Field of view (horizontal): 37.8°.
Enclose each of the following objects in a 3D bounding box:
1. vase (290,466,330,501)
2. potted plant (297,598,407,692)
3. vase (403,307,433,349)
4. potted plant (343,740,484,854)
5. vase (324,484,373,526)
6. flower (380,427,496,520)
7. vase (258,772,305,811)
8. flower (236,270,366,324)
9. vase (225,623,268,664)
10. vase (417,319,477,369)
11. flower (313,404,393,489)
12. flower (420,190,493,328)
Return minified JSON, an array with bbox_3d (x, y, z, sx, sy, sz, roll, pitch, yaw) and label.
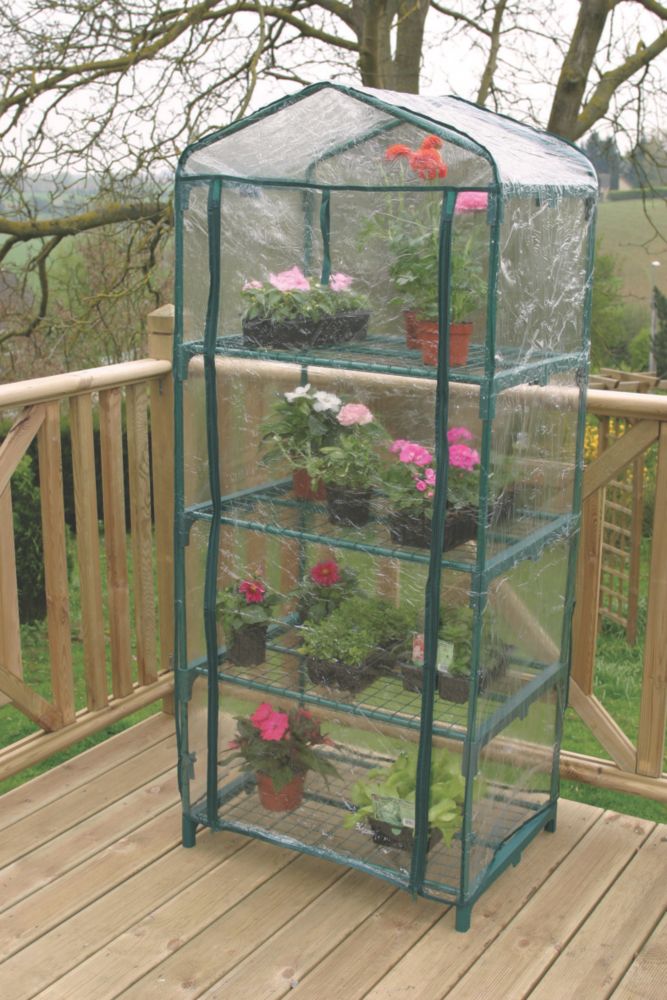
[{"bbox_3d":[-0.050,-0.032,1.939,0.027,0.051,0.066,-7,51,-40],"label":"vase"},{"bbox_3d":[0.045,0.281,1.919,0.190,0.102,0.204,17,33,35],"label":"potted plant"},{"bbox_3d":[0.148,-0.315,1.780,0.066,0.067,0.063,0,6,1],"label":"vase"},{"bbox_3d":[0.157,0.583,1.886,0.228,0.104,0.221,4,8,27],"label":"potted plant"},{"bbox_3d":[0.031,0.012,1.877,0.086,0.059,0.073,2,3,20],"label":"vase"},{"bbox_3d":[0.175,-0.041,1.748,0.149,0.090,0.156,12,37,18],"label":"flower"},{"bbox_3d":[-0.112,0.633,2.083,0.093,0.062,0.089,0,1,-6],"label":"vase"},{"bbox_3d":[-0.053,-0.392,1.884,0.232,0.090,0.078,-3,15,-12],"label":"flower"},{"bbox_3d":[-0.178,0.306,2.104,0.092,0.095,0.089,2,5,10],"label":"vase"},{"bbox_3d":[0.196,-0.275,1.707,0.093,0.065,0.089,0,12,1],"label":"vase"},{"bbox_3d":[0.029,-0.098,1.847,0.160,0.169,0.033,9,18,31],"label":"flower"},{"bbox_3d":[0.233,-0.404,1.625,0.071,0.206,0.067,7,17,24],"label":"flower"}]
